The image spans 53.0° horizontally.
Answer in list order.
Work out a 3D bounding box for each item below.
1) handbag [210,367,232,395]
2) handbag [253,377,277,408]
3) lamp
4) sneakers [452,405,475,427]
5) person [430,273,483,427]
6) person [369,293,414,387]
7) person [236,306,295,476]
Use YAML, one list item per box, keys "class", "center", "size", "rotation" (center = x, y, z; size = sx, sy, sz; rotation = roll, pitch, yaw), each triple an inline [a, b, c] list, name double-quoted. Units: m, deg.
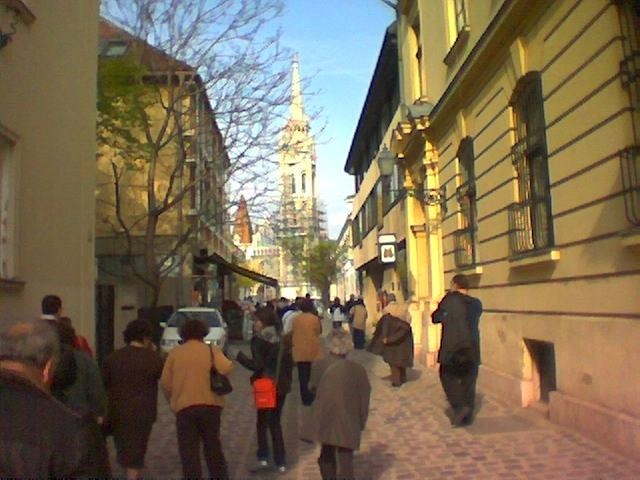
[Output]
- class: "handbag"
  center: [-1.088, 1.522, 6.952]
  size: [0.149, 0.356, 0.332]
  rotation: [-11, -17, 24]
- class: "handbag"
  center: [-0.683, 1.802, 7.832]
  size: [0.278, 0.435, 0.237]
  rotation: [2, 26, -1]
- class: "lamp"
  center: [2.487, -1.753, 16.948]
  size: [0.495, 2.179, 2.077]
  rotation: [-10, 12, -43]
- class: "sneakers"
  center: [2.003, 2.481, 9.028]
  size: [0.327, 0.131, 0.245]
  rotation: [-3, 3, 23]
- class: "person"
  center: [2.008, 1.573, 9.215]
  size: [0.700, 2.131, 0.574]
  rotation: [-4, 0, -7]
- class: "person"
  center: [1.482, 2.061, 13.112]
  size: [0.802, 1.813, 1.207]
  rotation: [-4, 0, 8]
- class: "person"
  center: [-0.663, 1.834, 8.026]
  size: [0.543, 2.038, 0.743]
  rotation: [-4, 0, 3]
